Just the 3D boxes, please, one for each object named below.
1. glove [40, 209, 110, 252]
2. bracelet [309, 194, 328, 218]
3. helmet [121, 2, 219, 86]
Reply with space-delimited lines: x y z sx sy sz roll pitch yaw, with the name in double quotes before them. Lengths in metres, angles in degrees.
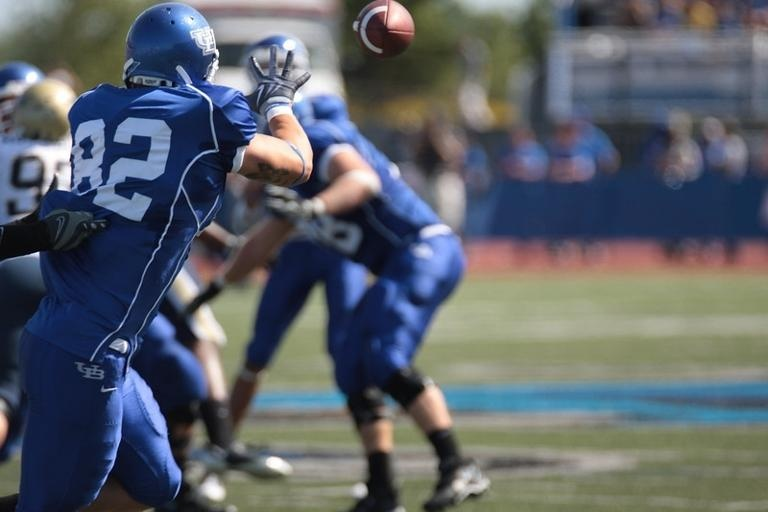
"glove" -1.619 -0.149 7.125 0.244 0.104 0.237 -23 27 -19
"bracelet" -0.383 -0.292 7.916 0.104 0.095 0.101 -30 2 -8
"helmet" -1.128 -1.127 7.249 0.544 0.409 0.388 -5 12 -24
